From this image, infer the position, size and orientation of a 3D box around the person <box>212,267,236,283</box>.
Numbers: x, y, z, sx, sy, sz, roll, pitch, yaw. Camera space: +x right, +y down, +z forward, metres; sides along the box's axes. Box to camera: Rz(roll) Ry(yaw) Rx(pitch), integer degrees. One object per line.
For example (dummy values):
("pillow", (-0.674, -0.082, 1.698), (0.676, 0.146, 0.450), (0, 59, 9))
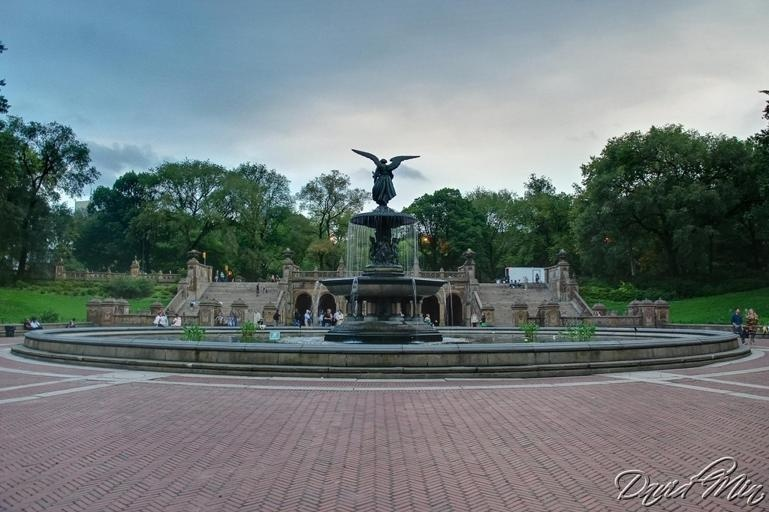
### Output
("person", (-17.484, 2.017, 68.811), (1.631, 1.410, 0.825), (-1, -7, -8))

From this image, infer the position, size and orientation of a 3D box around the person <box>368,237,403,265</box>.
("person", (0.019, -0.114, 24.855), (1.217, 1.077, 1.107), (0, -8, -14))

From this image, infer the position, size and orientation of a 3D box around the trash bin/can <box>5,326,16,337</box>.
("trash bin/can", (-19.724, 3.988, 33.630), (0.654, 0.604, 0.617), (1, -7, -17))

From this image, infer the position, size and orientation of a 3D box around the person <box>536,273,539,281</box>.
("person", (14.191, 1.995, 59.229), (0.379, 0.702, 0.237), (4, 8, 30))

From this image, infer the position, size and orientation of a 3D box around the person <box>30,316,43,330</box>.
("person", (-19.050, 3.688, 34.869), (0.612, 0.228, 0.754), (5, 6, -40))
